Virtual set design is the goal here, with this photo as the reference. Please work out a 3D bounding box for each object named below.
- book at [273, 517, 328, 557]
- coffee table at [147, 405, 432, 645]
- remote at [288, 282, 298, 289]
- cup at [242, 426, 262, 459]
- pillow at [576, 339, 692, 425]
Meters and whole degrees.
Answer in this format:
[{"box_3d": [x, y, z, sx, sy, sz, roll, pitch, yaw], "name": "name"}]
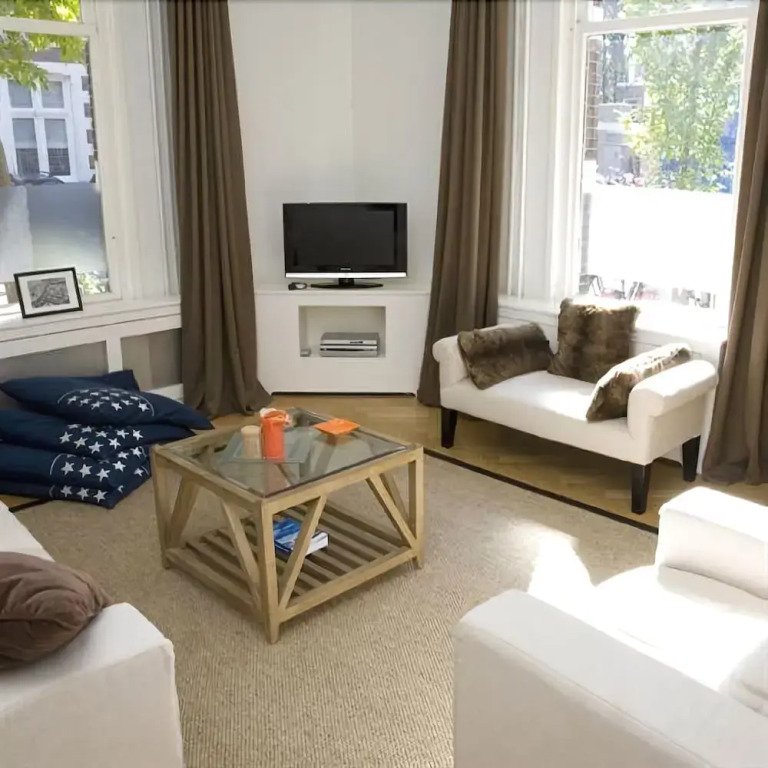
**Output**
[{"box_3d": [-0.361, 0.591, 2.592, 0.139, 0.039, 0.142, 13, 18, 37], "name": "book"}, {"box_3d": [-0.339, 0.448, 2.523, 0.756, 0.603, 0.775, -11, 16, -42], "name": "coffee table"}, {"box_3d": [-0.655, -0.715, 4.780, 0.049, 0.038, 0.050, 0, 11, -11], "name": "remote"}, {"box_3d": [-0.517, 0.224, 2.588, 0.095, 0.120, 0.091, 1, 14, 0], "name": "cup"}, {"box_3d": [1.240, -0.006, 3.210, 0.622, 0.282, 0.199, -15, 21, -36], "name": "pillow"}]
